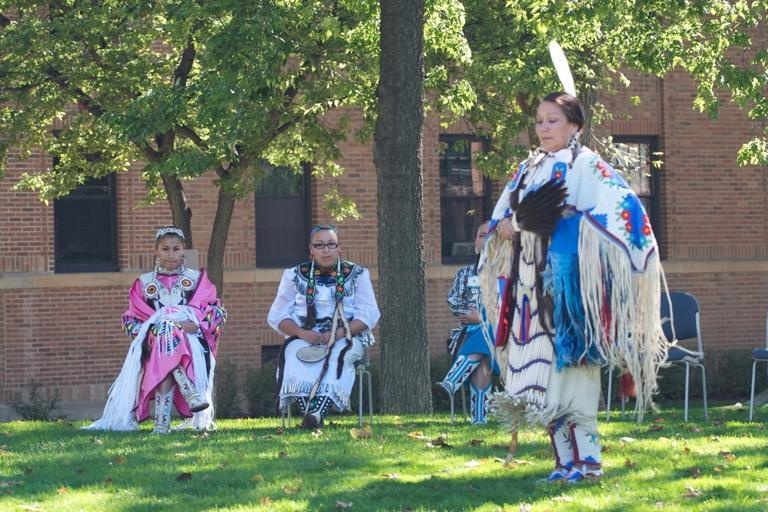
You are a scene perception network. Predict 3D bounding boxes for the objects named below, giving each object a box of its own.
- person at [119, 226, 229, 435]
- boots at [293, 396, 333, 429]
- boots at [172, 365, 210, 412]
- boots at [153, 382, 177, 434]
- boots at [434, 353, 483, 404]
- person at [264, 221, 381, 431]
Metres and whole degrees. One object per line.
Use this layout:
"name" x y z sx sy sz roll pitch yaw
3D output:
"person" -2.901 0.999 24.696 1.314 2.807 0.622 1 -10 -9
"boots" -0.953 2.075 24.325 0.251 0.678 0.506 1 4 23
"boots" -2.656 1.800 24.491 0.501 0.595 0.245 0 -10 -6
"boots" -3.021 2.077 24.489 0.301 0.673 0.426 0 -10 -6
"boots" 1.001 1.633 25.110 0.430 0.735 0.349 38 -16 10
"person" -0.861 0.954 24.574 1.411 2.771 0.342 0 -10 -4
